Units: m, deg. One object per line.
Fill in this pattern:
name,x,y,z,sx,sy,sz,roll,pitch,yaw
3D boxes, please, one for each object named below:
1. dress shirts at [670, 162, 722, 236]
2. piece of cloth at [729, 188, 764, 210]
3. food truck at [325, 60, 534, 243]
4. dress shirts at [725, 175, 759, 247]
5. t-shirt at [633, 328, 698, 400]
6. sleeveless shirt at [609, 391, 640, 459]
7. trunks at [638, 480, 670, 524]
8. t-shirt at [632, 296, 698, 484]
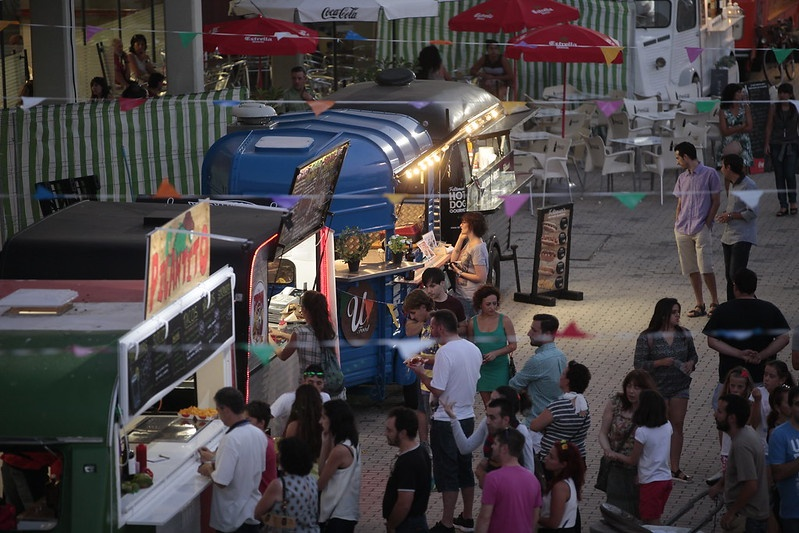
dress shirts,4.529,-0.988,13.531,0.707,1.110,0.217,5,9,37
piece of cloth,5.122,-0.964,13.113,0.467,0.270,0.225,5,9,35
food truck,0.318,-2.172,14.218,3.258,1.985,3.060,2,12,15
dress shirts,5.163,-0.794,13.488,0.571,1.017,0.798,-3,5,2
t-shirt,3.006,1.121,9.908,0.752,0.808,0.211,-2,8,-11
sleeveless shirt,2.233,1.594,8.901,0.223,0.500,0.522,1,8,10
trunks,2.540,2.330,8.771,0.349,0.465,0.155,-2,8,-12
t-shirt,3.016,1.386,9.925,0.733,1.993,0.690,1,2,11
